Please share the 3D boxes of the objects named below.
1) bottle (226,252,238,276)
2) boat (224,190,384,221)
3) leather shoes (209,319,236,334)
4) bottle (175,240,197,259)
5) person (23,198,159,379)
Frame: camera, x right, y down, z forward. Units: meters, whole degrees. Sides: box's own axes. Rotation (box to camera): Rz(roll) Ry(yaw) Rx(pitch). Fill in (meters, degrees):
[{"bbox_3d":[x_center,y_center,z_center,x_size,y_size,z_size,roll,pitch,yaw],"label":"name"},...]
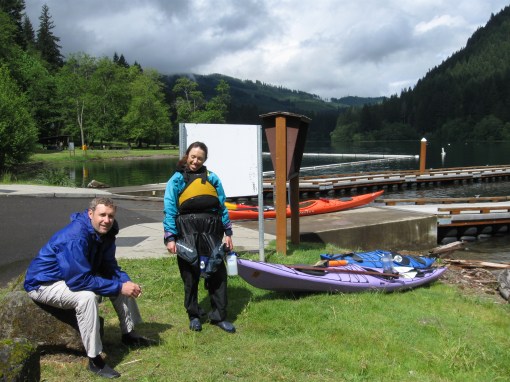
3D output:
[{"bbox_3d":[-0.389,1.194,8.353,0.203,0.410,0.227,-5,15,-3],"label":"bottle"},{"bbox_3d":[1.617,0.493,16.389,4.143,0.508,0.685,-5,15,-29],"label":"boat"},{"bbox_3d":[-0.507,2.134,7.966,0.432,0.189,0.167,12,17,19],"label":"leather shoes"},{"bbox_3d":[-1.065,0.915,7.627,0.325,0.207,0.107,20,17,29],"label":"bottle"},{"bbox_3d":[-2.328,1.287,6.963,1.521,2.309,0.967,-4,14,-28],"label":"person"}]
